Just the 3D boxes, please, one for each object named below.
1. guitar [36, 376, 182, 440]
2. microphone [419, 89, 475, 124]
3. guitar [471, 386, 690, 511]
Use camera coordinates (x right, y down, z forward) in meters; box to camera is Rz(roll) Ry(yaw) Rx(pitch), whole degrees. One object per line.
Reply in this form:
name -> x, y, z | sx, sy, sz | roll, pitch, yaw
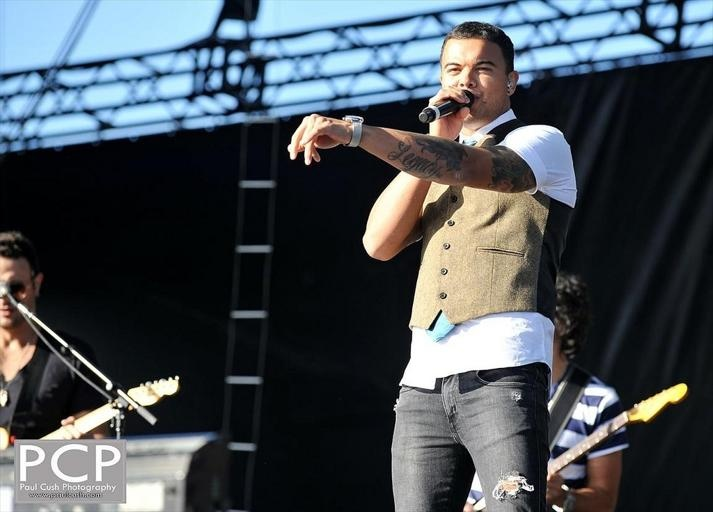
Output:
guitar -> -1.358, 0.805, 6.052 | 0.666, 0.088, 0.110 | -26, -14, 16
microphone -> 0.390, -0.609, 4.697 | 0.316, 0.093, 0.092 | -21, -50, -34
guitar -> 1.024, 0.883, 5.203 | 1.329, 0.143, 0.167 | -33, -4, 23
